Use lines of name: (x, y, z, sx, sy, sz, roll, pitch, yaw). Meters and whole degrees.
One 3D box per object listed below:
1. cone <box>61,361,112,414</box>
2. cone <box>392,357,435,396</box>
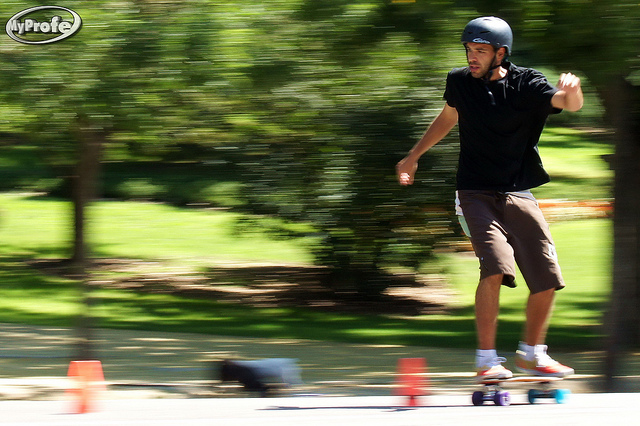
cone: (-2.067, 1.514, 9.969, 0.428, 0.420, 0.362, 0, 5, -9)
cone: (0.829, 1.457, 10.076, 0.288, 0.368, 0.220, 1, 5, -3)
